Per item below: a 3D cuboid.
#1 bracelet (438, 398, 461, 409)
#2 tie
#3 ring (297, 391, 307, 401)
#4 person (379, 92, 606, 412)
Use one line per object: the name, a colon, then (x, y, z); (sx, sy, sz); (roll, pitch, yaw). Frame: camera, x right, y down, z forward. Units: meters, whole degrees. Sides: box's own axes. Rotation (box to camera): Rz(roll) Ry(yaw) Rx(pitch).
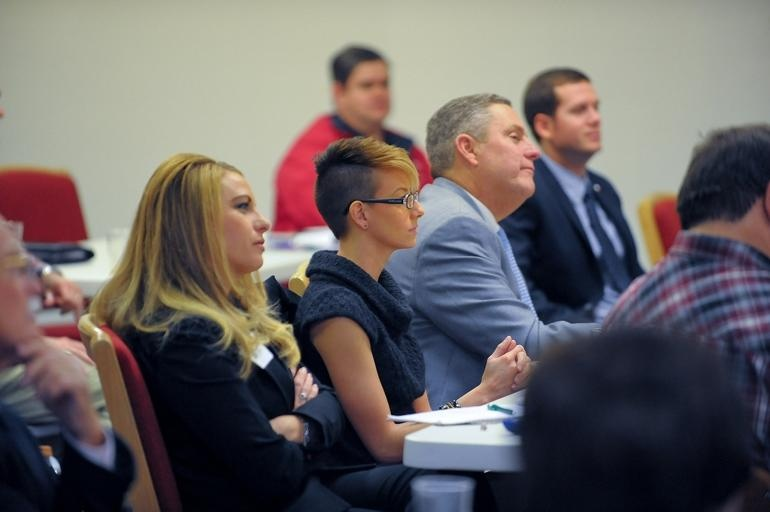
bracelet: (0.156, 0.366, 1.701); (0.032, 0.025, 0.084); (-7, -7, 6)
tie: (0.925, -0.069, 2.887); (0.117, 0.459, 0.063); (-28, -40, 21)
ring: (-0.200, 0.343, 1.658); (0.014, 0.019, 0.006); (1, -15, -15)
person: (0.376, 0.234, 2.254); (0.752, 1.471, 0.652); (-2, 12, 5)
